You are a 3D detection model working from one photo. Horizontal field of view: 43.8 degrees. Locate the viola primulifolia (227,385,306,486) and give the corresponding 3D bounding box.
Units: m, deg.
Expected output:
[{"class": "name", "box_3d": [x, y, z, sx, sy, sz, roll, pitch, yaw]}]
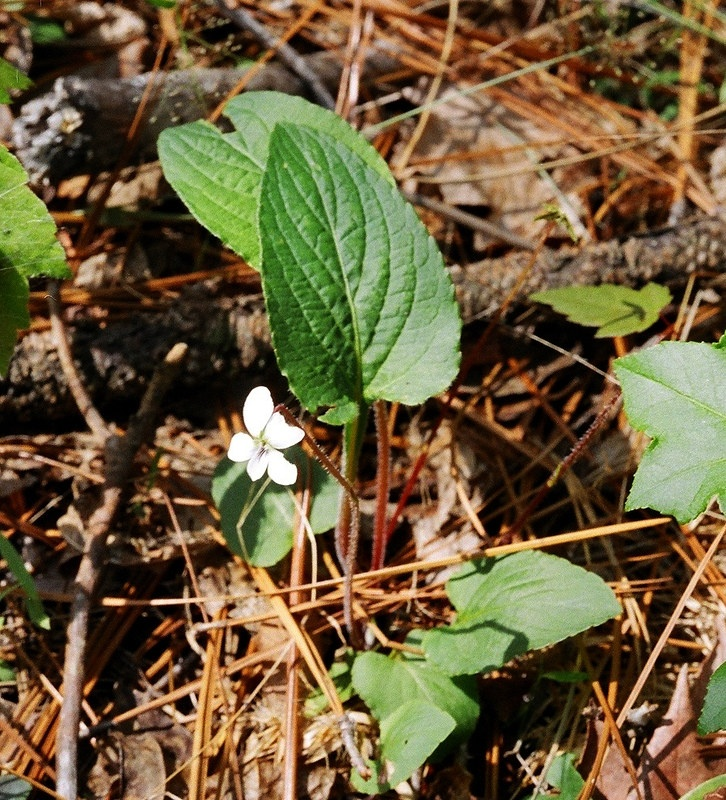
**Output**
[{"class": "viola primulifolia", "box_3d": [-0.219, 0.082, 2.125, 0.175, 0.206, 0.188, 3, 35, 13]}]
